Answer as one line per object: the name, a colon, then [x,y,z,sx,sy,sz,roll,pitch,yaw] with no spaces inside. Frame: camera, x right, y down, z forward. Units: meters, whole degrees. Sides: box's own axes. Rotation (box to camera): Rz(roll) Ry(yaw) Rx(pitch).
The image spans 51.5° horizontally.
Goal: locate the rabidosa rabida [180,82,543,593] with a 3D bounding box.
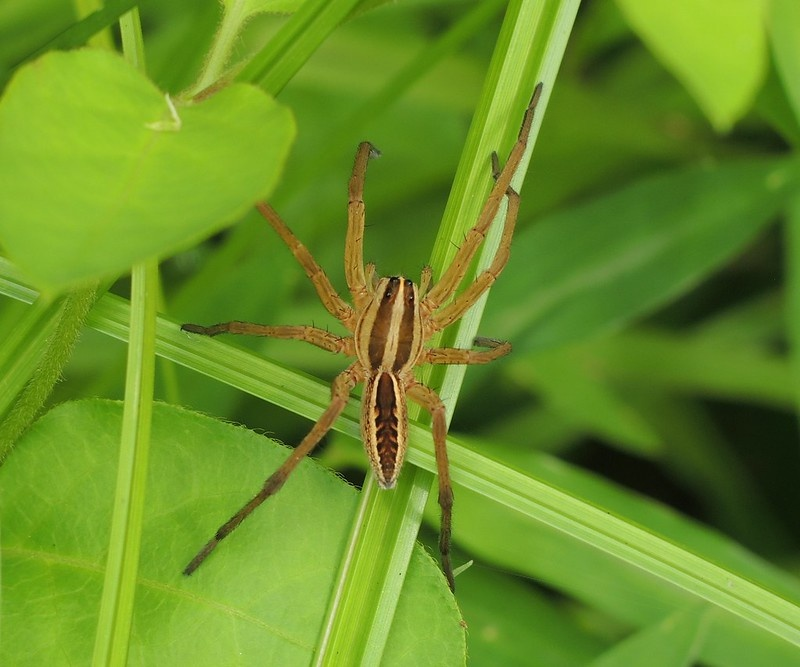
rabidosa rabida: [-0.011,0.024,1.648,0.548,0.885,0.684,6,12,0]
